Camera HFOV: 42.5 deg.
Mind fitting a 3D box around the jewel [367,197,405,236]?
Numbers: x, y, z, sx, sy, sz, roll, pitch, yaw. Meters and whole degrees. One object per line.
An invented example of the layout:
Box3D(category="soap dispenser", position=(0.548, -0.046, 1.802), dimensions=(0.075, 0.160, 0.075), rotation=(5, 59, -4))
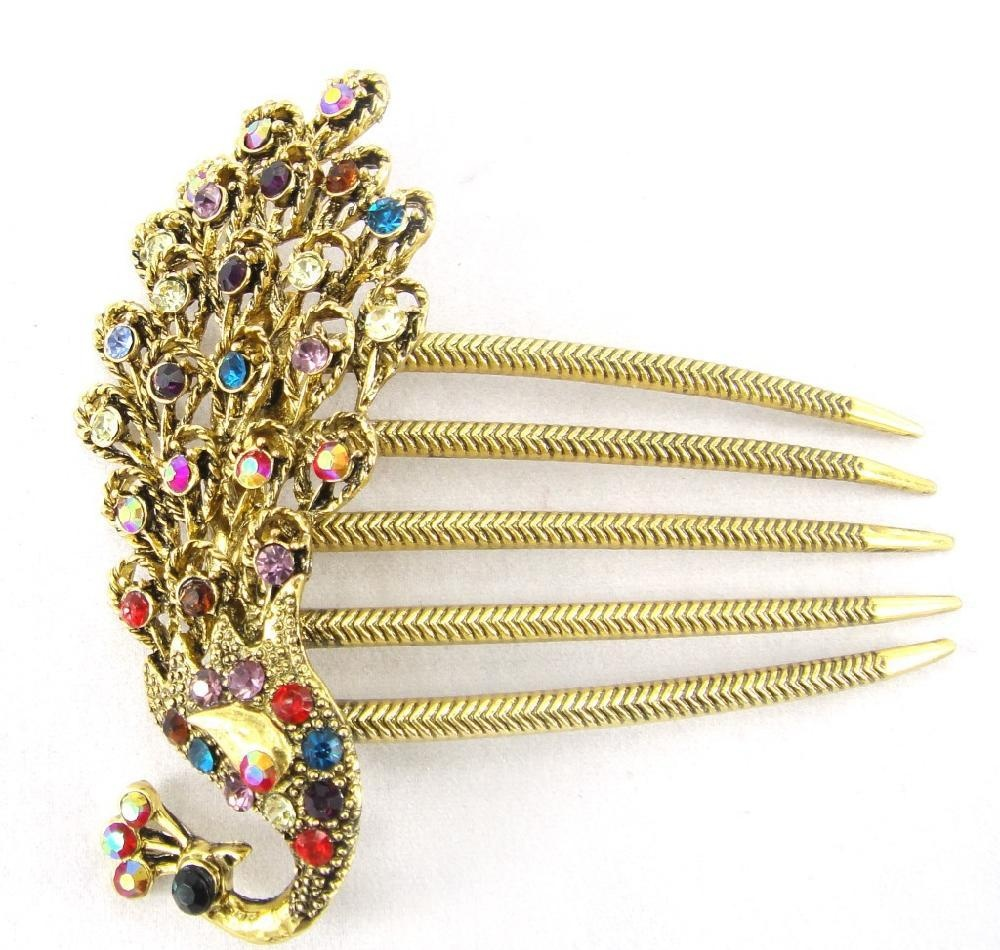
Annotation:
Box3D(category="jewel", position=(-0.157, -0.357, 1.780), dimensions=(0.077, 0.047, 0.029), rotation=(3, -7, 5))

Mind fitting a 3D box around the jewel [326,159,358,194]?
Box3D(category="jewel", position=(-0.222, -0.417, 1.811), dimensions=(0.066, 0.041, 0.025), rotation=(5, -9, 2))

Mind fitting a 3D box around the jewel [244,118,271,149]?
Box3D(category="jewel", position=(-0.348, -0.484, 1.833), dimensions=(0.056, 0.038, 0.018), rotation=(0, -8, 23))

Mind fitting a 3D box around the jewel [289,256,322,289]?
Box3D(category="jewel", position=(-0.264, -0.278, 1.756), dimensions=(0.064, 0.039, 0.024), rotation=(2, -7, 4))
